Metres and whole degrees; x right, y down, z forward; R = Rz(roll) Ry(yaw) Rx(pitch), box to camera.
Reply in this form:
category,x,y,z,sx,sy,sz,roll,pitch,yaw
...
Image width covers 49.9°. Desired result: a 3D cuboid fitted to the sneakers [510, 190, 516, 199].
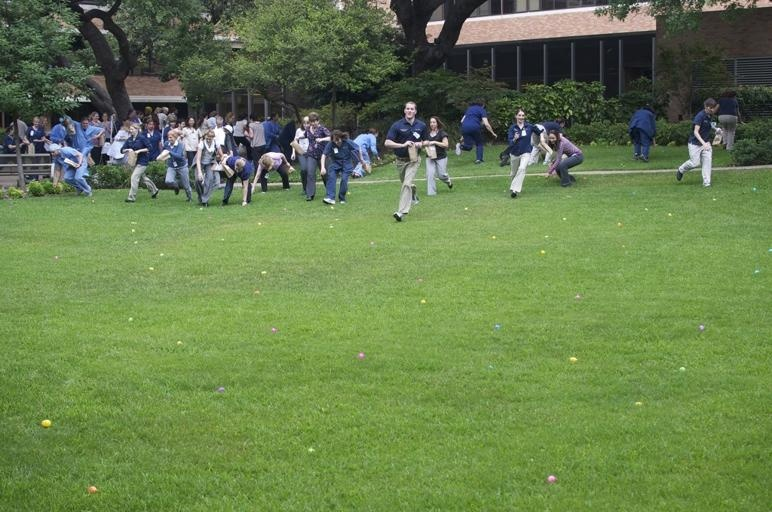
category,x,y,z,sx,sy,sz,roll,pitch,yaw
sneakers,3.263,-1.556,21.381,0.162,0.157,0.158,-1,0,7

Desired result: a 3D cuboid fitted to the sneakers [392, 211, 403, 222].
category,x,y,z,sx,sy,sz,roll,pitch,yaw
sneakers,0.210,-0.863,19.331,0.133,0.272,0.265,-5,31,27

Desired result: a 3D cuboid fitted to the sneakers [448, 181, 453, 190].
category,x,y,z,sx,sy,sz,roll,pitch,yaw
sneakers,1.810,-1.989,23.509,0.112,0.148,0.368,-5,-9,5

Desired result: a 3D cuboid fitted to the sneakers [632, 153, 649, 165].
category,x,y,z,sx,sy,sz,roll,pitch,yaw
sneakers,8.152,-3.111,26.609,0.221,0.298,0.648,5,-1,-12
